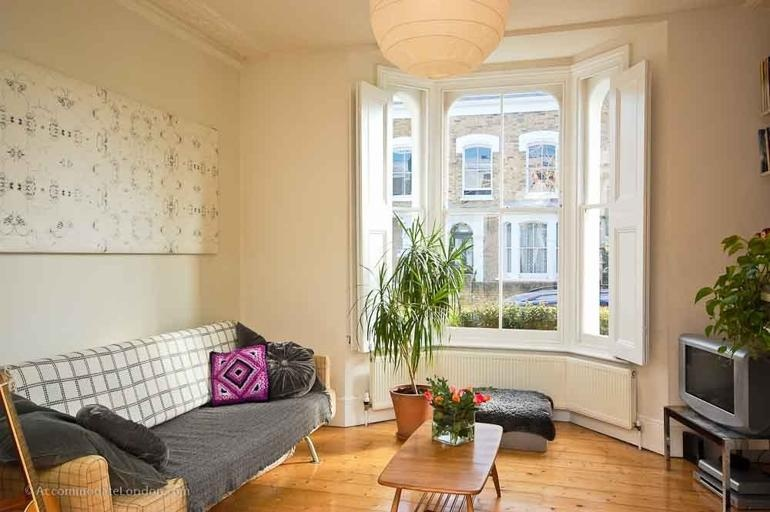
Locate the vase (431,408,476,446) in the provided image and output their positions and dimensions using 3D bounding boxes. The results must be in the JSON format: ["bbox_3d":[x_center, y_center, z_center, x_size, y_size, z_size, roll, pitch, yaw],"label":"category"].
[{"bbox_3d":[0.527,1.301,4.258,0.275,0.259,0.282,-1,-3,37],"label":"vase"}]

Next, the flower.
[{"bbox_3d":[0.547,1.270,4.315,0.485,0.383,0.512,3,-7,-5],"label":"flower"}]
